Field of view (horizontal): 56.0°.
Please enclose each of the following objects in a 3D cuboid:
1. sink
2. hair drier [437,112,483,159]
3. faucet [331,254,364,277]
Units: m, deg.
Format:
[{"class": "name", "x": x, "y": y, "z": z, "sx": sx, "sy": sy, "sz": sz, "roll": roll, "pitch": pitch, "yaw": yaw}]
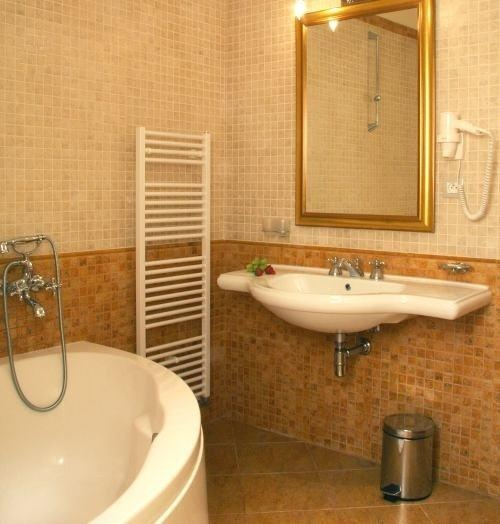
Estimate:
[{"class": "sink", "x": 0.443, "y": 0.105, "z": 2.375, "sx": 0.865, "sy": 0.283, "sz": 0.750, "roll": 5, "pitch": 7, "yaw": 33}, {"class": "hair drier", "x": 0.907, "y": -0.548, "z": 2.043, "sx": 0.184, "sy": 0.202, "sz": 0.085, "roll": 1, "pitch": 5, "yaw": 28}, {"class": "faucet", "x": 0.476, "y": 0.020, "z": 2.386, "sx": 0.074, "sy": 0.111, "sz": 0.205, "roll": -6, "pitch": 11, "yaw": -37}]
